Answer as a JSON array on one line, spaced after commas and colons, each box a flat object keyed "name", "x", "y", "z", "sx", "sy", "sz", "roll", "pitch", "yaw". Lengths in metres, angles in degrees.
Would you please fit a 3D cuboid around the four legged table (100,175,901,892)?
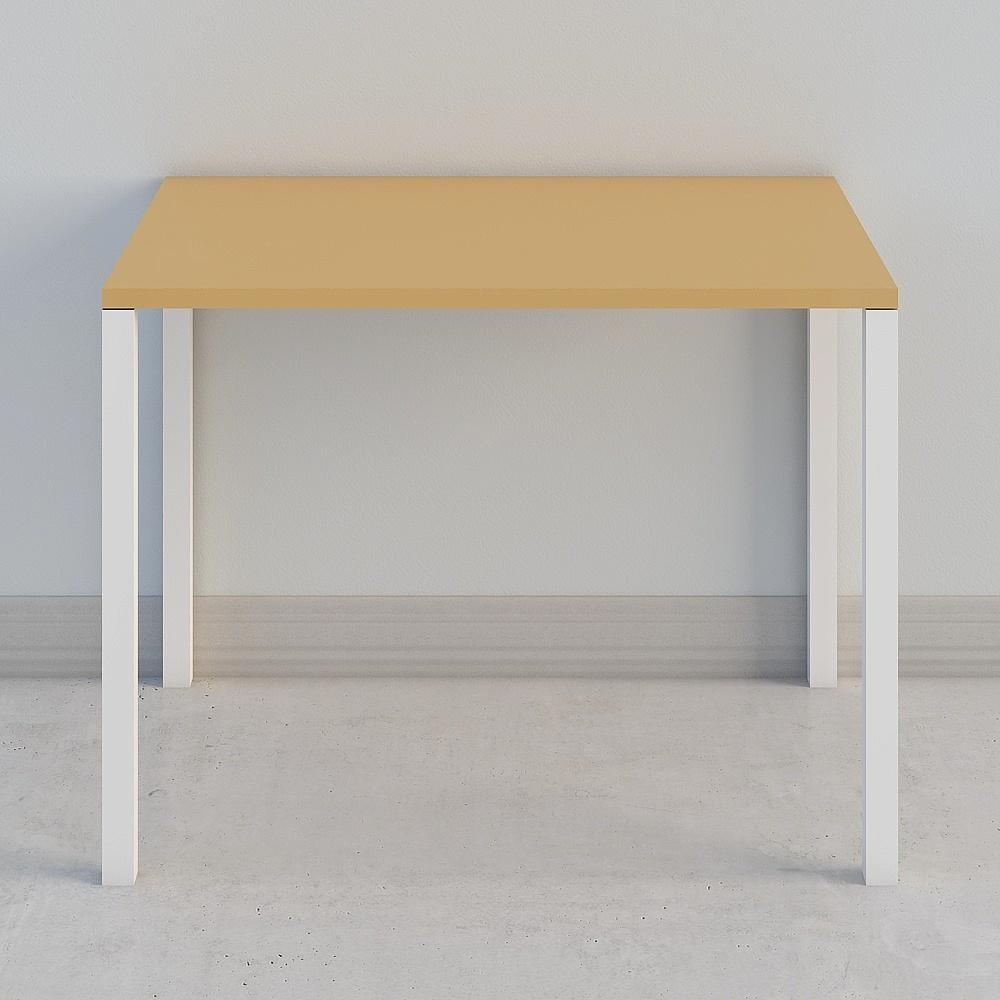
[{"name": "four legged table", "x": 0.020, "y": 0.325, "z": 5.796, "sx": 3.778, "sy": 2.601, "sz": 2.677, "roll": 0, "pitch": 6, "yaw": 0}]
